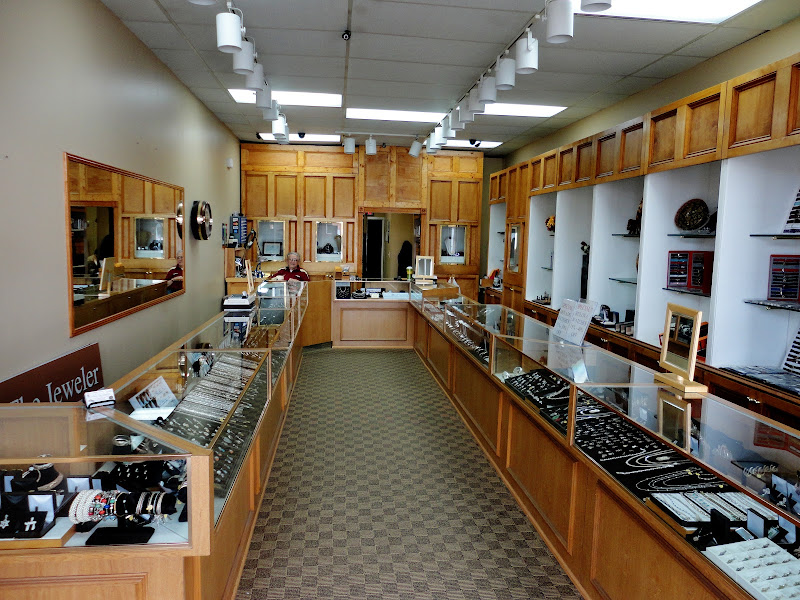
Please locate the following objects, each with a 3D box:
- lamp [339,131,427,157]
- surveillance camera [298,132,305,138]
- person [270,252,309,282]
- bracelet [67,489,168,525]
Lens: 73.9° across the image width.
[{"bbox_3d":[-0.281,-2.777,9.668,1.323,0.371,1.637,1,10,-1],"label":"lamp"},{"bbox_3d":[-1.778,-2.961,9.547,0.083,0.069,0.094,-1,6,-1],"label":"surveillance camera"},{"bbox_3d":[-2.101,-0.637,9.892,0.728,0.621,0.400,1,-4,2],"label":"person"},{"bbox_3d":[-1.245,0.914,2.416,0.422,0.162,0.173,3,-5,-5],"label":"bracelet"}]
